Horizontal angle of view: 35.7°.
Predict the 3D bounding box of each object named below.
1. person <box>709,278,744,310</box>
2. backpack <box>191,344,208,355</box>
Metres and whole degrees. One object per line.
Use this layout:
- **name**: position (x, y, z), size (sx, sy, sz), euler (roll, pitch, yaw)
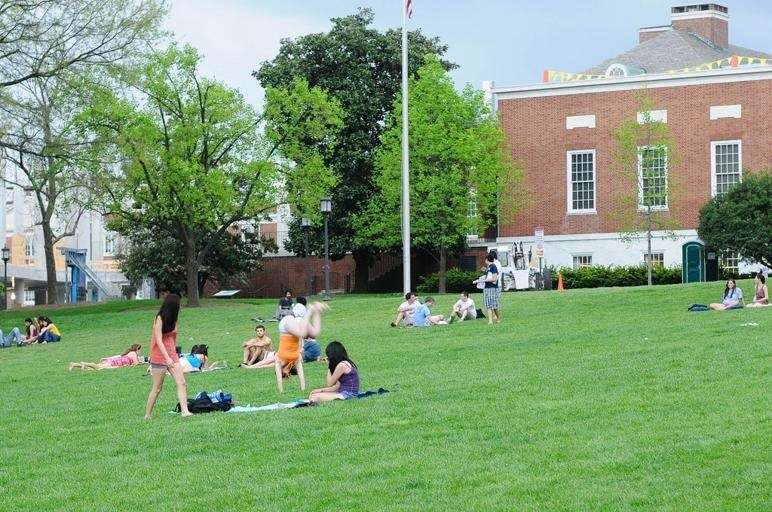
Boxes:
- **person**: position (13.967, 1.622, 48.833), size (1.401, 1.328, 0.813), euler (0, 0, 34)
- **backpack**: position (-6.791, 3.370, 43.419), size (0.339, 0.501, 0.490), euler (2, 5, 19)
